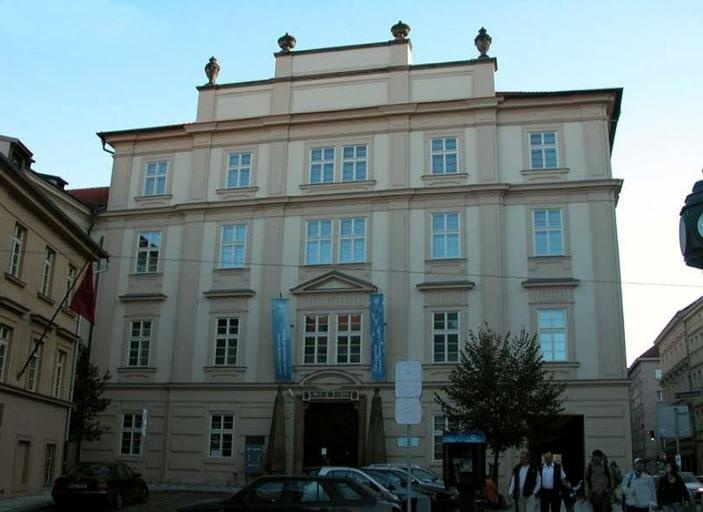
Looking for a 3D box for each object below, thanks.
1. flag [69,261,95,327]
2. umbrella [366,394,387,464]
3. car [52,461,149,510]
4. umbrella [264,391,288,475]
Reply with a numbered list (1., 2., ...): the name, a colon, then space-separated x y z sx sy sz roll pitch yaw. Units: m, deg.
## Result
1. flag: -11.974 1.455 30.741 0.980 3.174 1.971 7 -22 -19
2. umbrella: 1.253 8.981 36.330 0.973 3.913 0.468 0 -21 -2
3. car: -9.433 8.630 25.765 1.741 1.823 3.601 -5 -21 11
4. umbrella: -4.073 9.410 37.089 1.005 4.474 0.494 2 -21 -7
